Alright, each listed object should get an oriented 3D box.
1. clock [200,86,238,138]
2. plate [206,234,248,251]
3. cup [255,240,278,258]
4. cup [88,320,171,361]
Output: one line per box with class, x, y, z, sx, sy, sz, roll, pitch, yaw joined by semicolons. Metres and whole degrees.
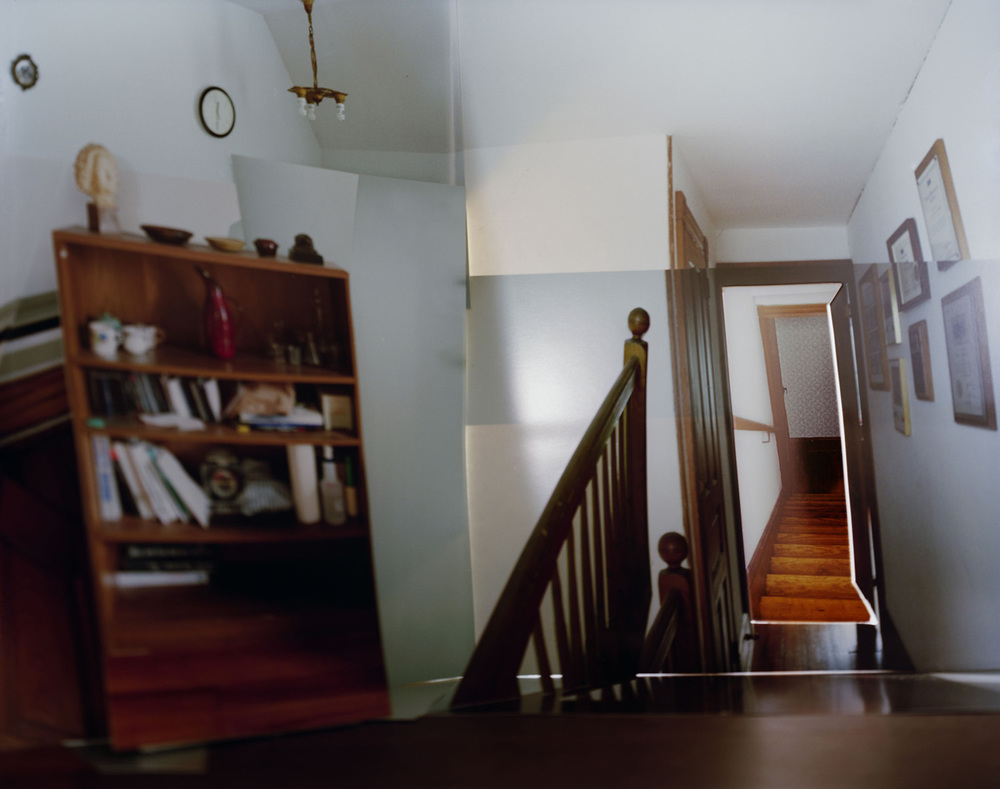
clock;-1.011;-1.009;2.714;0.156;0.166;0.014;19;26;16
plate;-0.903;-0.496;2.507;0.131;0.051;0.030;-1;-4;-19
cup;-0.784;-0.480;2.544;0.059;0.048;0.061;-1;0;0
cup;-1.217;-0.179;2.443;0.177;0.094;0.102;3;3;-16
